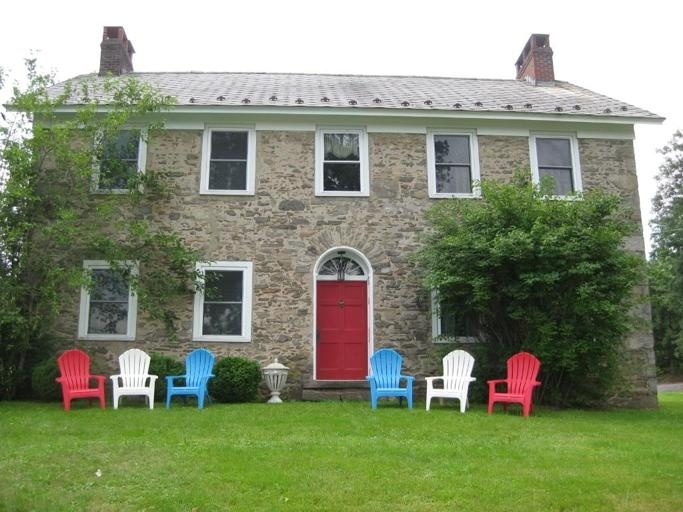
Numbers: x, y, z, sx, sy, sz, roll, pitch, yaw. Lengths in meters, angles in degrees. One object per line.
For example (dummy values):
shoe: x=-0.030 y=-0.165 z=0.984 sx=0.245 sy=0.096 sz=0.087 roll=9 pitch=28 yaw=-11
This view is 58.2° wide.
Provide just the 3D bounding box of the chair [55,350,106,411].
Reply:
chair: x=-4.649 y=2.175 z=10.904 sx=0.700 sy=1.014 sz=0.701 roll=1 pitch=0 yaw=-25

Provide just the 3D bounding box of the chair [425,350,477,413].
chair: x=2.037 y=2.246 z=11.141 sx=0.801 sy=1.127 sz=0.861 roll=1 pitch=0 yaw=20

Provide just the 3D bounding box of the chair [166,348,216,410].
chair: x=-2.682 y=2.197 z=11.062 sx=0.809 sy=1.017 sz=0.762 roll=-2 pitch=-10 yaw=9

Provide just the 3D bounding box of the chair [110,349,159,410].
chair: x=-3.716 y=2.222 z=11.043 sx=0.807 sy=0.949 sz=0.749 roll=2 pitch=-4 yaw=-12

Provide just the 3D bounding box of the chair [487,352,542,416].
chair: x=2.971 y=2.196 z=10.535 sx=0.913 sy=0.992 sz=0.875 roll=1 pitch=-5 yaw=-5

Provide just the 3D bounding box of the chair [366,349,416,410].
chair: x=0.883 y=2.213 z=11.028 sx=0.833 sy=1.006 sz=1.010 roll=0 pitch=-9 yaw=3
